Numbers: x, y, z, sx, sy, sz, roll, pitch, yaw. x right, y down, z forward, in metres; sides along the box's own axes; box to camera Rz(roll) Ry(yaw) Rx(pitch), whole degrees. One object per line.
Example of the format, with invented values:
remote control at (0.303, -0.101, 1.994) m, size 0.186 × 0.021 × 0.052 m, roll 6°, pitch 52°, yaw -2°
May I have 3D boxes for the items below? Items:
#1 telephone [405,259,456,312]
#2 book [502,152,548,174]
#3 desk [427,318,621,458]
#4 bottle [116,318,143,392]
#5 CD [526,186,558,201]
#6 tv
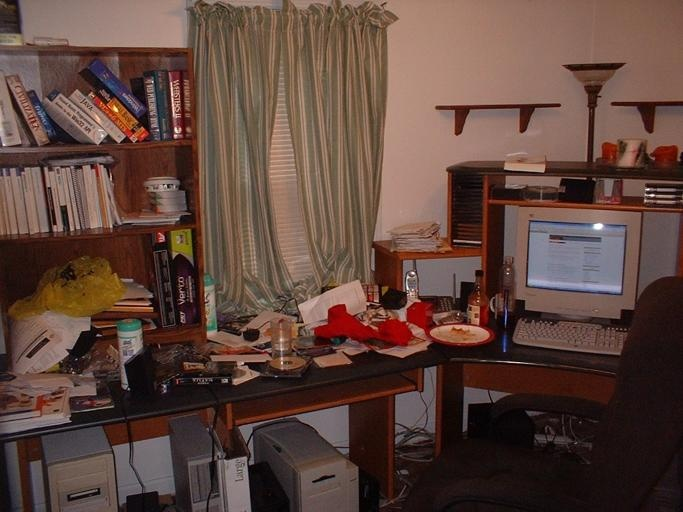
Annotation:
telephone at (0.463, 0.177, 3.070) m, size 0.307 × 0.377 × 0.207 m, roll -1°, pitch 18°, yaw 2°
book at (0.916, -0.457, 2.783) m, size 0.196 × 0.082 × 0.212 m, roll 4°, pitch 14°, yaw 22°
desk at (0.804, 0.567, 2.491) m, size 0.802 × 0.722 × 0.340 m, roll 3°, pitch 7°, yaw 23°
bottle at (-0.852, 0.386, 2.256) m, size 0.104 × 0.255 × 0.246 m, roll -8°, pitch 14°, yaw -23°
CD at (0.999, -0.309, 2.797) m, size 0.098 × 0.043 × 0.097 m, roll 1°, pitch 4°, yaw -14°
tv at (1.213, 0.025, 2.869) m, size 0.571 × 0.552 × 0.295 m, roll 5°, pitch 14°, yaw 29°
